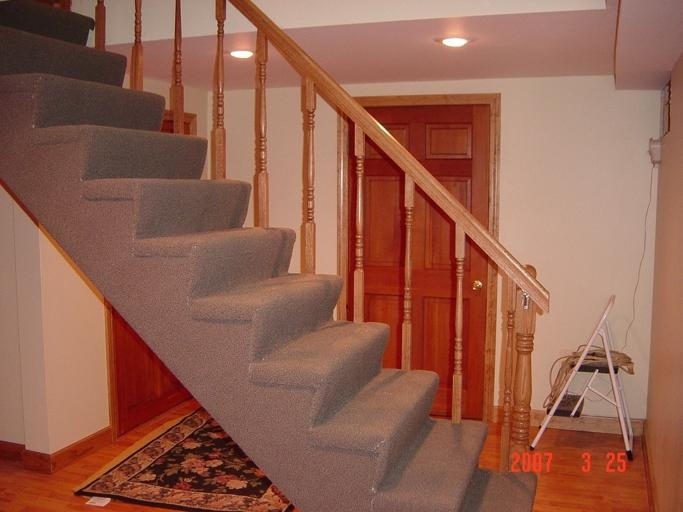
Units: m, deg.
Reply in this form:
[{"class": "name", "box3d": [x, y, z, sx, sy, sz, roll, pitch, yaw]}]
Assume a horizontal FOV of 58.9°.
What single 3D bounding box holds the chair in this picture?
[{"class": "chair", "box3d": [1.904, 0.879, 4.671, 0.679, 1.137, 0.692, 5, 7, 28]}]
